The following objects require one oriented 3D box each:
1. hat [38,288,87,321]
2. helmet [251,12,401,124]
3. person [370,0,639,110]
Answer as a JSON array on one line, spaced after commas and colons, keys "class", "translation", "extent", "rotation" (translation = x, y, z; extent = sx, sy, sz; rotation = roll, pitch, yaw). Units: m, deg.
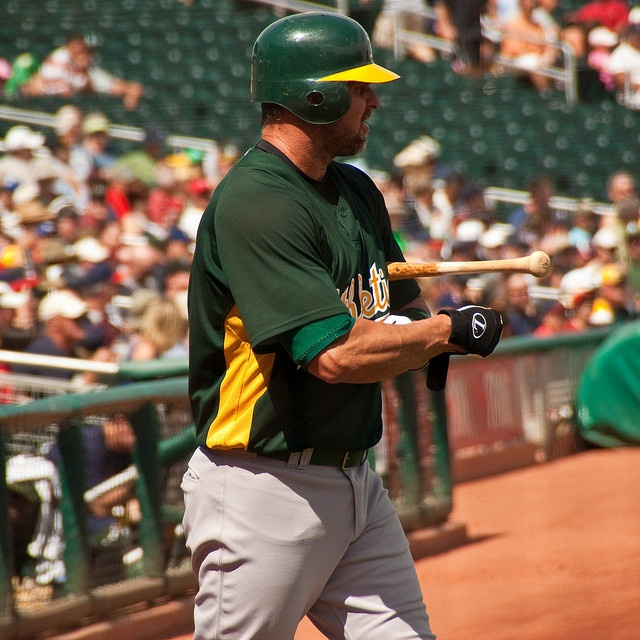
[{"class": "hat", "translation": [-1.433, -0.082, 6.116], "extent": [0.196, 0.146, 0.257], "rotation": [9, 17, 40]}, {"class": "helmet", "translation": [0.057, -0.757, 3.230], "extent": [0.518, 0.278, 0.340], "rotation": [4, 26, 21]}, {"class": "person", "translation": [1.527, -2.124, 8.754], "extent": [2.304, 0.541, 0.675], "rotation": [10, 44, 3]}]
